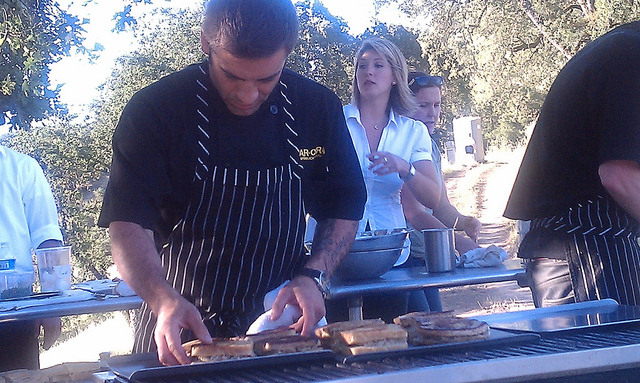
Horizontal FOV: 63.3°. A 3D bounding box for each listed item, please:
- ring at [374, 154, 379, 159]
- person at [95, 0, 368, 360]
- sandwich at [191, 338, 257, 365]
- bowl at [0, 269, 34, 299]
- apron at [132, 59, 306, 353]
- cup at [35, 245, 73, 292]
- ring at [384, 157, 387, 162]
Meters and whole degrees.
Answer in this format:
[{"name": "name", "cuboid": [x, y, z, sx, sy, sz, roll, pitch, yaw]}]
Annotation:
[{"name": "ring", "cuboid": [0.448, -0.279, 4.094, 0.030, 0.036, 0.039, -5, -5, 21]}, {"name": "person", "cuboid": [-0.426, -0.091, 2.758, 1.398, 1.729, 0.693, -1, -5, -24]}, {"name": "sandwich", "cuboid": [-0.436, 0.740, 2.359, 0.212, 0.054, 0.128, -7, -3, 17]}, {"name": "bowl", "cuboid": [-2.395, 0.745, 4.187, 0.181, 0.202, 0.308, -4, -5, 12]}, {"name": "apron", "cuboid": [-0.485, 0.031, 2.911, 0.809, 1.519, 0.242, -2, -5, -20]}, {"name": "cup", "cuboid": [-2.233, 0.648, 4.369, 0.270, 0.381, 0.435, -1, -5, -27]}, {"name": "ring", "cuboid": [0.521, -0.262, 4.122, 0.024, 0.035, 0.010, 1, -6, -45]}]
